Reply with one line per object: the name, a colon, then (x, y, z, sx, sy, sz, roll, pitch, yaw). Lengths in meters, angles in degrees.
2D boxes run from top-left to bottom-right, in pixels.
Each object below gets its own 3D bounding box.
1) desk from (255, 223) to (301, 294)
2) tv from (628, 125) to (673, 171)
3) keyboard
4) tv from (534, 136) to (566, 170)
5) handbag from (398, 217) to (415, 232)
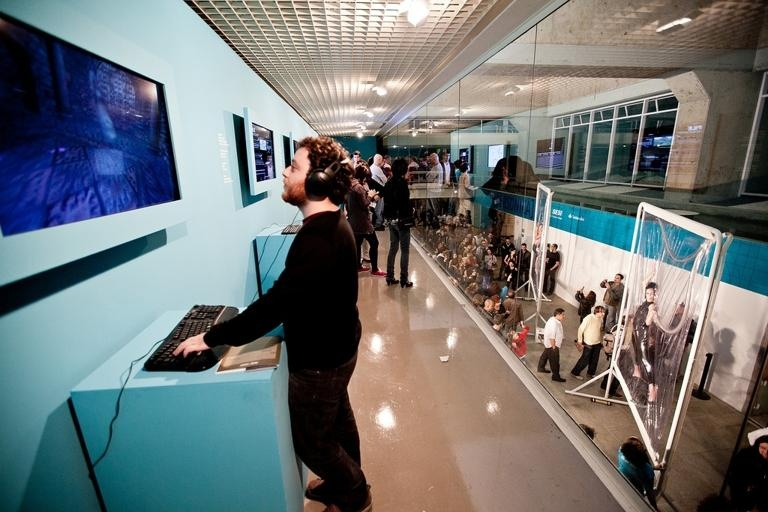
desk: (-0.799, 0.026, 3.367, 0.295, 0.516, 0.540, -2, 15, -4)
tv: (1.429, -0.588, 2.423, 0.028, 0.278, 0.206, -6, 19, -23)
keyboard: (-0.948, 0.375, 2.318, 0.316, 0.566, 0.094, 26, 27, -32)
tv: (1.160, -0.721, 3.163, 0.310, 0.208, 0.010, -12, 16, -32)
handbag: (0.251, -0.352, 5.020, 0.245, 0.132, 0.137, 2, -3, -8)
